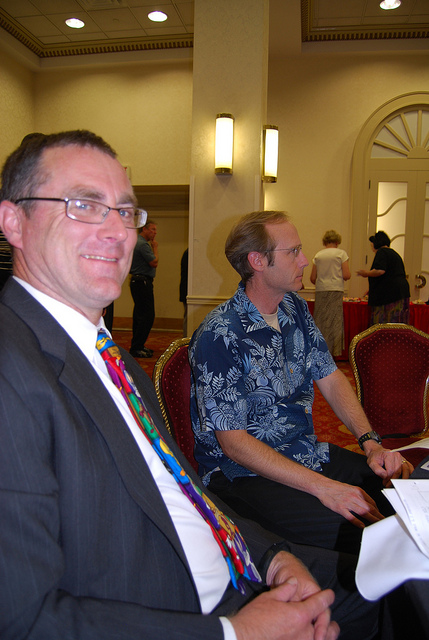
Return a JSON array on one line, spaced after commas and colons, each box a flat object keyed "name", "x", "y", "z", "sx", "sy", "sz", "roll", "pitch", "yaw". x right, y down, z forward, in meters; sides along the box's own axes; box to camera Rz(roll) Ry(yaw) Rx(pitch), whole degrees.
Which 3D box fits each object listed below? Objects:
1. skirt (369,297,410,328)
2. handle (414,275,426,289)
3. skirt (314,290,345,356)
[{"name": "skirt", "x": 1.755, "y": -0.093, "z": 4.906, "sx": 0.310, "sy": 0.408, "sz": 0.275, "roll": 0, "pitch": -8, "yaw": -2}, {"name": "handle", "x": 2.852, "y": -0.525, "z": 6.804, "sx": 0.167, "sy": 0.156, "sz": 0.045, "roll": 15, "pitch": 9, "yaw": 37}, {"name": "skirt", "x": 1.364, "y": 0.032, "z": 5.859, "sx": 0.354, "sy": 0.777, "sz": 0.284, "roll": 0, "pitch": 5, "yaw": 12}]
